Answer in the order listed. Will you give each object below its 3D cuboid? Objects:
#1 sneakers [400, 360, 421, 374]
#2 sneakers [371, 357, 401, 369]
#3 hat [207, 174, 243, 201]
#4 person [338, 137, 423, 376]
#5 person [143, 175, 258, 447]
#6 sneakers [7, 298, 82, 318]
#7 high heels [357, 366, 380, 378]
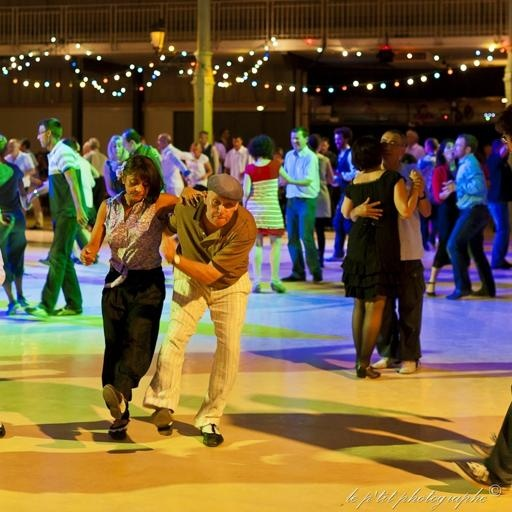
[{"bbox_3d":[1.081,0.785,5.105,0.058,0.087,0.183,-4,-9,34],"label":"sneakers"},{"bbox_3d":[0.945,0.771,5.256,0.219,0.100,0.082,2,-1,-23],"label":"sneakers"},{"bbox_3d":[-0.136,-0.303,3.205,0.154,0.124,0.185,0,4,-3],"label":"hat"},{"bbox_3d":[0.820,0.019,4.873,0.559,1.624,0.343,2,4,22],"label":"person"},{"bbox_3d":[-0.270,0.271,3.450,0.527,1.299,0.637,0,4,-9],"label":"person"},{"bbox_3d":[-2.103,0.524,7.223,0.413,0.204,0.143,-3,6,-9],"label":"sneakers"},{"bbox_3d":[0.767,0.790,4.954,0.148,0.073,0.075,-1,6,-25],"label":"high heels"}]
